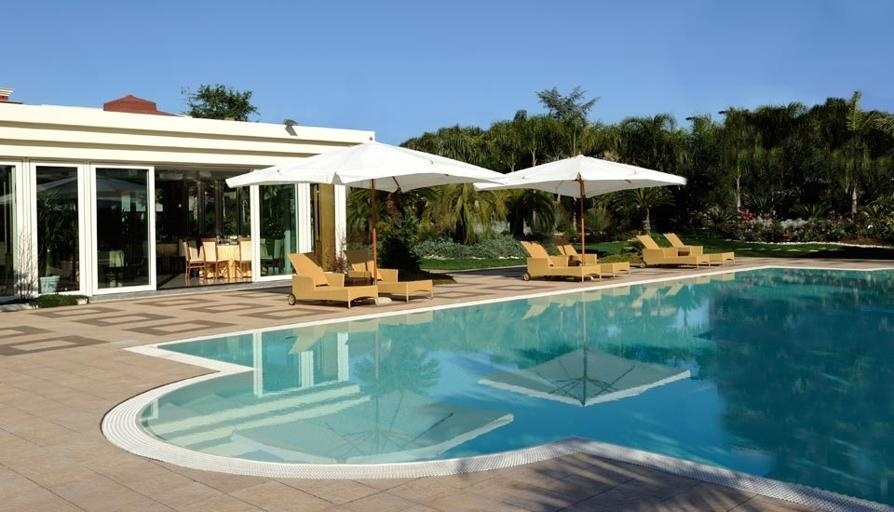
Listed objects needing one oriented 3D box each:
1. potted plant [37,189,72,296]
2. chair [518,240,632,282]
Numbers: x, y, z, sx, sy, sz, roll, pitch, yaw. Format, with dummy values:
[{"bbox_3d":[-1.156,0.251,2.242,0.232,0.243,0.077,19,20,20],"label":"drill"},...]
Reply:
[{"bbox_3d":[-10.372,-0.375,16.302,0.876,2.787,0.468,-5,3,-43],"label":"potted plant"},{"bbox_3d":[4.281,0.124,20.536,2.783,1.299,3.032,-2,2,34],"label":"chair"}]
